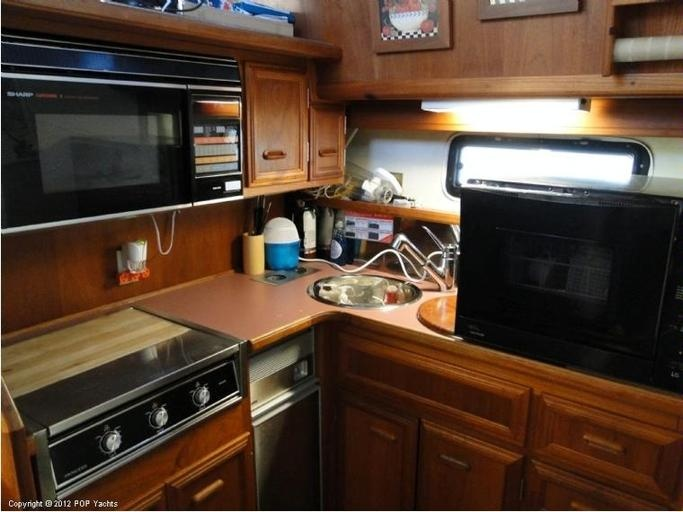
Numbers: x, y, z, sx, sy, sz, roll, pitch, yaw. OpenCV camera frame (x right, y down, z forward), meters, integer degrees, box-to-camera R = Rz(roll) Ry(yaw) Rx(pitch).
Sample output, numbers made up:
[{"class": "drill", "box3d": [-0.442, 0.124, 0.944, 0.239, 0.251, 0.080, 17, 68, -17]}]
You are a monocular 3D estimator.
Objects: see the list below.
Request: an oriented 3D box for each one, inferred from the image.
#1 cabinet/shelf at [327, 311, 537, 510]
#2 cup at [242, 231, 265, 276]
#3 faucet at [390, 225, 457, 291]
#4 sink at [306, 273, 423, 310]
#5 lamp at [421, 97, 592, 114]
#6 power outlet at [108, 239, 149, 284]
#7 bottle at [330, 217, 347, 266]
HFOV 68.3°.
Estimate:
[{"class": "cabinet/shelf", "box3d": [0.389, 0.601, 2.010, 0.757, 0.726, 0.408, 13, 15, 33]}, {"class": "cup", "box3d": [-0.443, -0.004, 2.537, 0.108, 0.201, 0.089, -4, 15, -13]}, {"class": "faucet", "box3d": [0.396, 0.003, 2.468, 0.317, 0.283, 0.357, 1, 15, 4]}, {"class": "sink", "box3d": [0.107, 0.205, 2.391, 0.533, 0.127, 0.422, -2, 15, -9]}, {"class": "lamp", "box3d": [0.645, -0.613, 2.064, 0.666, 0.050, 0.174, 10, 18, 31]}, {"class": "power outlet", "box3d": [-0.889, 0.032, 2.146, 0.107, 0.177, 0.116, 8, 11, 31]}, {"class": "bottle", "box3d": [-0.017, -0.075, 2.756, 0.084, 0.234, 0.074, 3, 15, 10]}]
